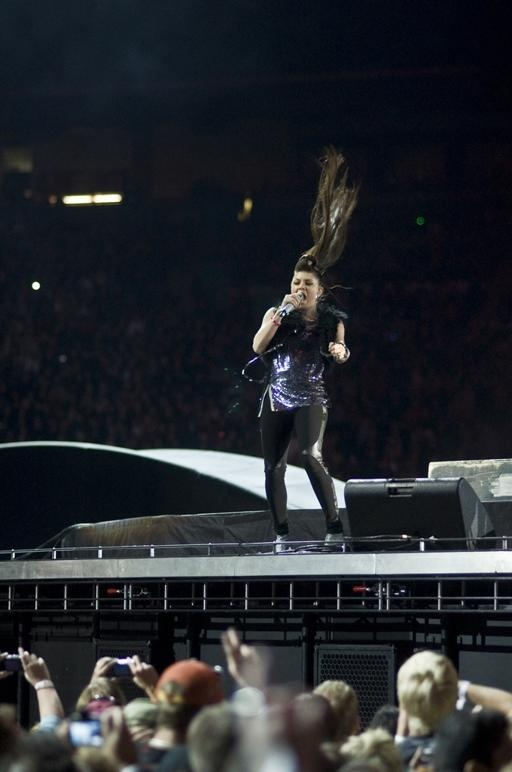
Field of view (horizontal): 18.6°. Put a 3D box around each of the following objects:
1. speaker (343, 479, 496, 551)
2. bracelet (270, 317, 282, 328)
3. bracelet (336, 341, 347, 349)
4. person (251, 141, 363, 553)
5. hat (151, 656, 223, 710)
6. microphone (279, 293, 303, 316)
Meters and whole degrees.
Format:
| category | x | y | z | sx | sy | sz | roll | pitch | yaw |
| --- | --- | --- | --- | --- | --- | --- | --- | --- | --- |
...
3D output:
| category | x | y | z | sx | sy | sz | roll | pitch | yaw |
| --- | --- | --- | --- | --- | --- | --- | --- | --- | --- |
| speaker | 0.740 | 0.572 | 7.078 | 0.661 | 0.318 | 0.507 | 1 | -7 | 5 |
| bracelet | 0.113 | -0.314 | 7.557 | 0.044 | 0.030 | 0.034 | 5 | 10 | 16 |
| bracelet | 0.434 | -0.204 | 7.660 | 0.033 | 0.039 | 0.034 | 17 | -50 | 5 |
| person | 0.258 | -0.265 | 7.796 | 0.480 | 2.138 | 1.073 | 1 | -7 | 3 |
| hat | -0.225 | 0.988 | 5.287 | 0.211 | 0.101 | 0.131 | 2 | 11 | -23 |
| microphone | 0.186 | -0.395 | 7.618 | 0.112 | 0.137 | 0.206 | 1 | -7 | 3 |
